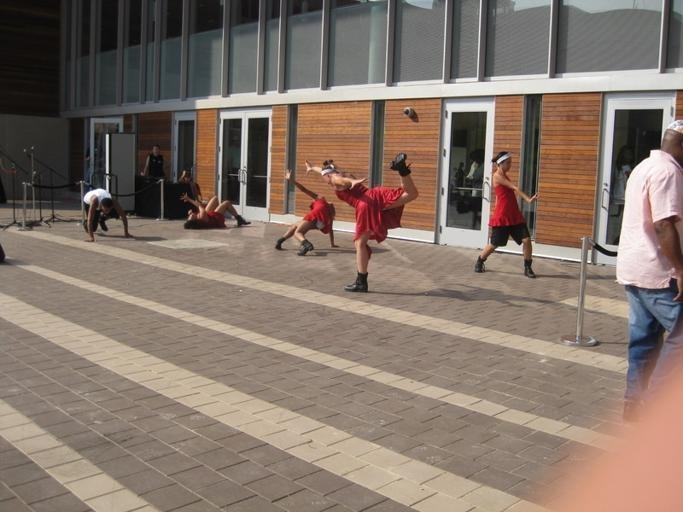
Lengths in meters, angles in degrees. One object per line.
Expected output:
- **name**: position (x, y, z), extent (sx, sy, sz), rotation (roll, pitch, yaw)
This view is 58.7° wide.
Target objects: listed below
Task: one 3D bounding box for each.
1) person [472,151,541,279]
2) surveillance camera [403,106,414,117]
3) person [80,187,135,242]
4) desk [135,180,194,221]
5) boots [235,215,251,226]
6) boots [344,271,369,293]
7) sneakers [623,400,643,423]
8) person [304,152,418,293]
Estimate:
- **person**: position (2.980, -0.752, 10.884), extent (1.112, 2.205, 0.928), rotation (9, 11, 37)
- **surveillance camera**: position (1.633, -3.524, 14.862), extent (0.235, 0.239, 0.243), rotation (-6, 12, -42)
- **person**: position (-5.511, -0.989, 13.940), extent (1.082, 0.971, 1.804), rotation (-7, 13, -32)
- **desk**: position (-5.575, -1.802, 18.873), extent (1.776, 1.627, 1.324), rotation (10, 13, 42)
- **boots**: position (-2.865, -1.047, 17.648), extent (0.517, 0.328, 0.198), rotation (-12, 27, -30)
- **boots**: position (0.251, 0.415, 9.344), extent (0.209, 0.322, 0.452), rotation (-3, 10, -42)
- **sneakers**: position (2.268, 1.199, 4.745), extent (0.161, 0.168, 0.155), rotation (3, -6, 9)
- **person**: position (0.413, -0.483, 9.143), extent (1.023, 2.082, 1.369), rotation (-4, 11, -31)
